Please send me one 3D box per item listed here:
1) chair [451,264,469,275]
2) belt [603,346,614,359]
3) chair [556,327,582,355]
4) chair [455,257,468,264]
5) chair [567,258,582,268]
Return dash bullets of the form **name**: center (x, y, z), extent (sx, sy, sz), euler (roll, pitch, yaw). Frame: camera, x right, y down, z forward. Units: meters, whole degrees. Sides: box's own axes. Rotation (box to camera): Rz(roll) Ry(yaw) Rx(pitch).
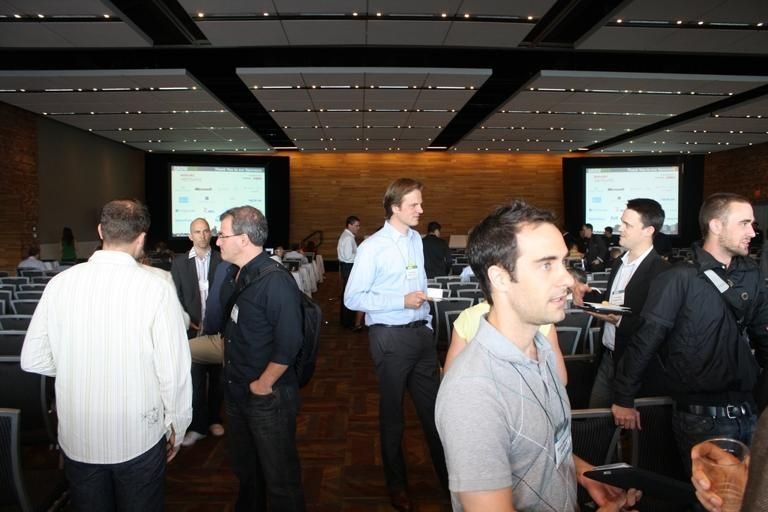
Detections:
- **chair**: center (1.255, 0.225, 8.854), extent (0.210, 0.283, 0.235), euler (5, 12, 20)
- **belt**: center (1.802, 0.773, 4.253), extent (0.072, 0.052, 0.071), euler (-1, -2, 17)
- **chair**: center (1.702, 0.777, 4.875), extent (0.225, 0.359, 0.262), euler (0, 4, 5)
- **chair**: center (1.489, 0.092, 10.284), extent (0.124, 0.169, 0.126), euler (0, -5, -7)
- **chair**: center (2.933, 0.107, 8.159), extent (0.173, 0.117, 0.164), euler (2, -7, 5)
